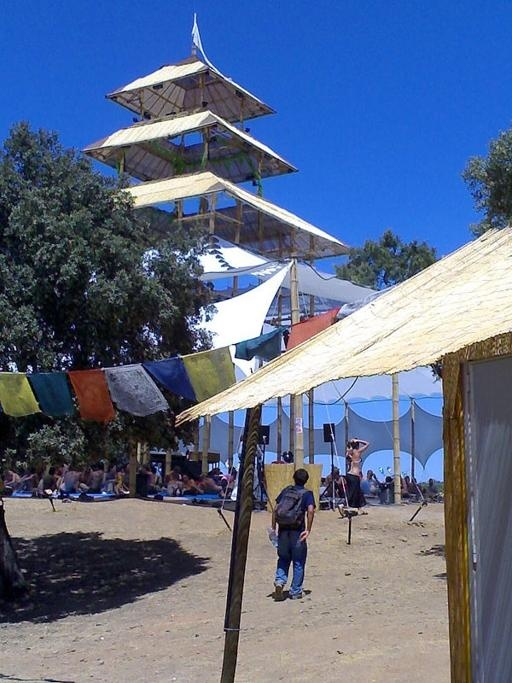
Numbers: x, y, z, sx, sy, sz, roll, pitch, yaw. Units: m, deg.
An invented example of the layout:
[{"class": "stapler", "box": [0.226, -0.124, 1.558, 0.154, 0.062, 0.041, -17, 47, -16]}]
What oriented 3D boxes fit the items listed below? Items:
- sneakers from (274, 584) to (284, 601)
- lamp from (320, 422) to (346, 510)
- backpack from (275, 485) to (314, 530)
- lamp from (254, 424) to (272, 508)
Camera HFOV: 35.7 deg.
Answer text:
[{"class": "sneakers", "box": [0.254, 2.881, 9.064, 0.104, 0.264, 0.172, -1, -3, -1]}, {"class": "lamp", "box": [1.942, 3.123, 20.114, 0.751, 2.138, 0.920, -3, 13, -2]}, {"class": "backpack", "box": [0.413, 1.843, 8.723, 0.410, 0.413, 0.361, 2, -1, 8]}, {"class": "lamp", "box": [0.241, 2.922, 20.072, 0.465, 1.804, 0.594, -1, 23, -1]}]
